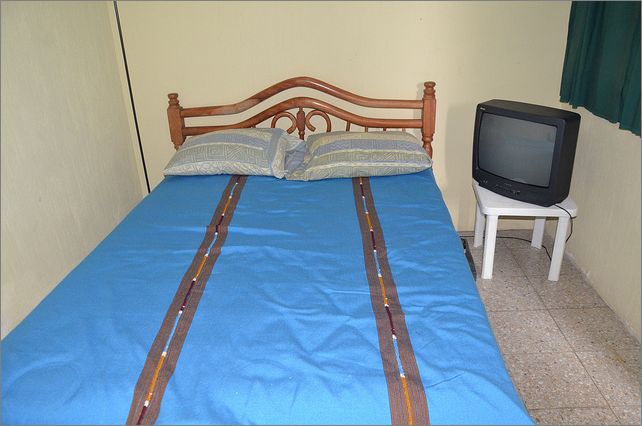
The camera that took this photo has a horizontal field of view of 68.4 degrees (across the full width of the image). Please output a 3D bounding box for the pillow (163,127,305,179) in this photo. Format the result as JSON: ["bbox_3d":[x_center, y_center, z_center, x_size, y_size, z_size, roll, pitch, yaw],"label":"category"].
[{"bbox_3d":[-0.599,-0.421,3.335,0.731,0.191,0.462,3,44,2],"label":"pillow"}]

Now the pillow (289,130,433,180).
[{"bbox_3d":[0.304,-0.399,3.293,0.778,0.180,0.427,-2,35,2],"label":"pillow"}]

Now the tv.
[{"bbox_3d":[1.459,-0.441,3.319,0.404,0.627,0.681,-20,30,-27],"label":"tv"}]

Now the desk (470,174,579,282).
[{"bbox_3d":[1.350,0.022,3.525,0.788,0.701,0.750,7,30,-1],"label":"desk"}]
